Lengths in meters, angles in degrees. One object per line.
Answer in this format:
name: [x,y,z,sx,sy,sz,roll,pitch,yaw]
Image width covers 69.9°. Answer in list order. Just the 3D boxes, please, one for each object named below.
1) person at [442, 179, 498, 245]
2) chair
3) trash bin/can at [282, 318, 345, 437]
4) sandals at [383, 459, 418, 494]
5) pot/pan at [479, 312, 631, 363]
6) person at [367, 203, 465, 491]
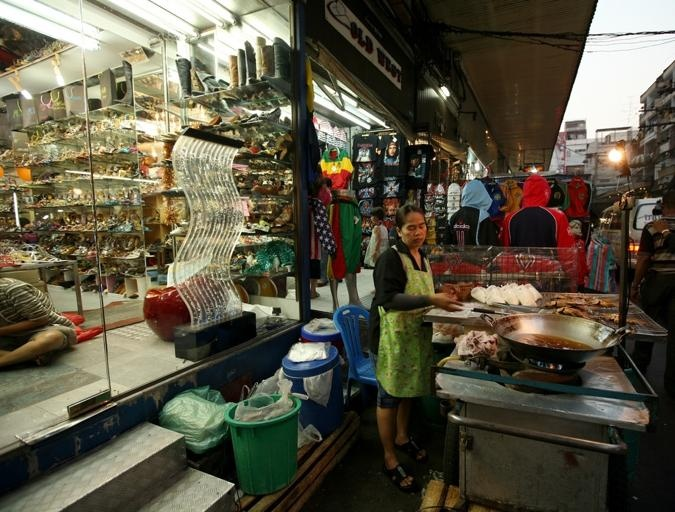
person: [1.604,-0.468,5.727,0.558,0.812,0.597,-1,8,-36]
chair: [0.205,0.926,4.539,0.520,0.898,0.539,1,5,26]
trash bin/can: [-0.083,1.036,4.185,0.624,0.840,0.669,2,7,29]
sandals: [0.505,1.766,3.862,0.142,0.101,0.277,-5,-1,-34]
pot/pan: [1.277,0.482,2.822,0.756,0.242,0.366,-1,7,15]
person: [0.591,0.707,3.826,0.613,2.221,0.714,-5,8,-7]
